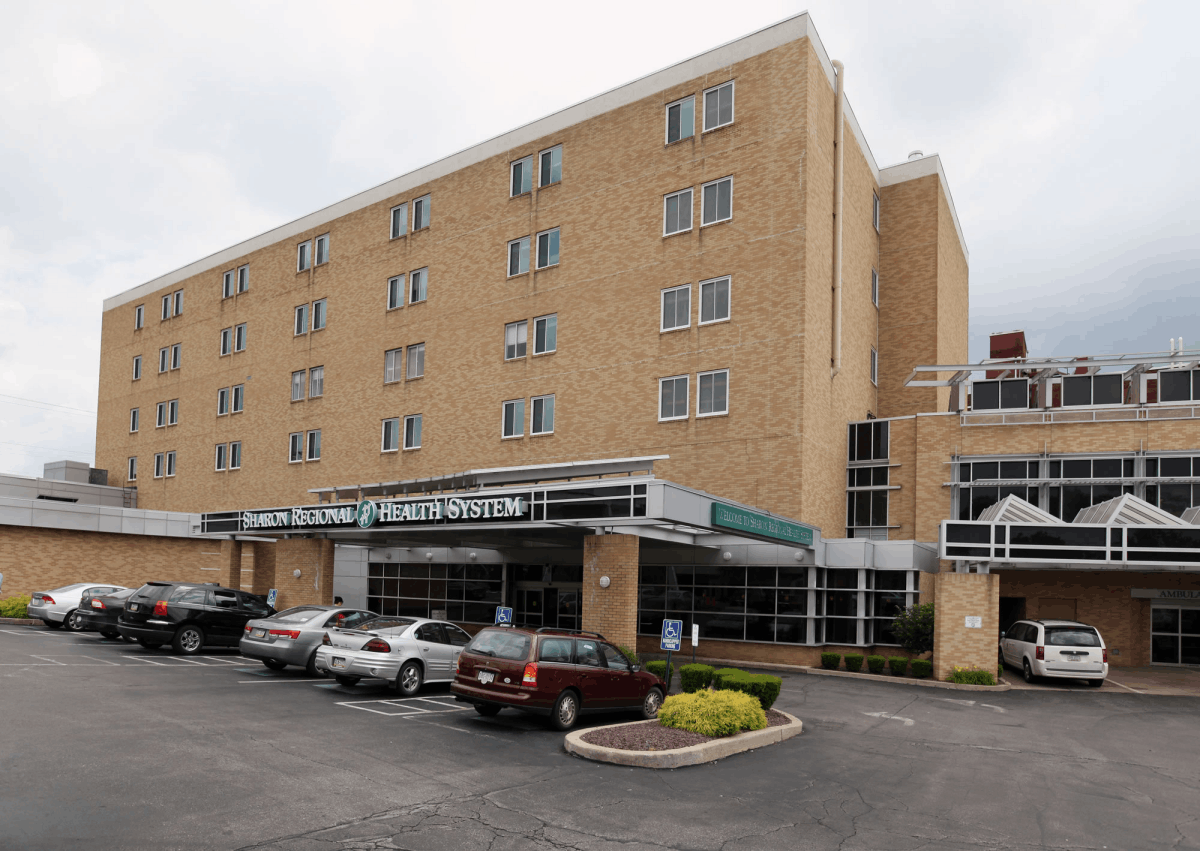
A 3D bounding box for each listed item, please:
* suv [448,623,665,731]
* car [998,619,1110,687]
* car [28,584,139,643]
[{"bbox_3d":[-0.812,5.377,21.979,3.816,1.357,2.116,5,-7,-42],"label":"suv"},{"bbox_3d":[14.088,7.111,31.943,1.896,1.081,3.347,1,-5,4],"label":"car"},{"bbox_3d":[-18.144,6.553,34.655,2.114,1.296,4.597,-2,-4,43],"label":"car"}]
